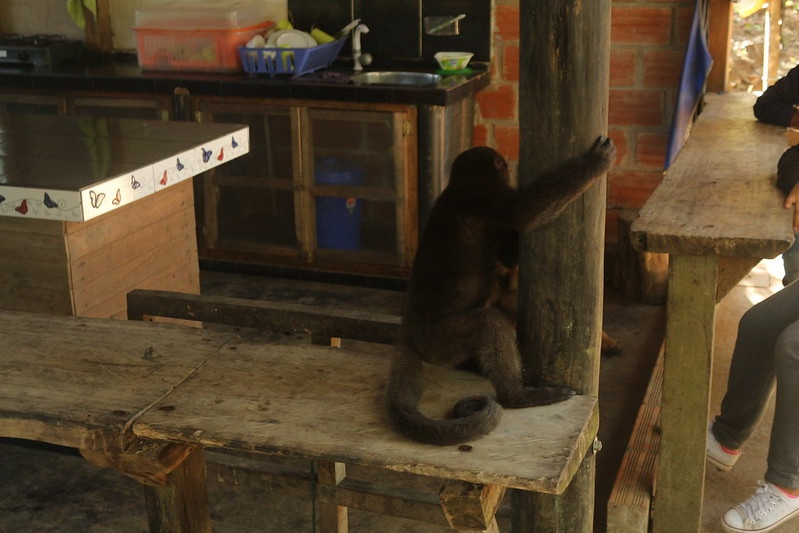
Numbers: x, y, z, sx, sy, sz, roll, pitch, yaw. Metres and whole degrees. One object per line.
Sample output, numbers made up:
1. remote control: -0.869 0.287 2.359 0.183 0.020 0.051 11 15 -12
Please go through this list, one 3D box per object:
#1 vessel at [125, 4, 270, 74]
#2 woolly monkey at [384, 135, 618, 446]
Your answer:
1. vessel: -1.861 -2.039 6.856 0.987 0.413 0.761 5 17 16
2. woolly monkey: 0.457 -0.035 3.565 1.349 1.335 1.020 -8 17 -15
